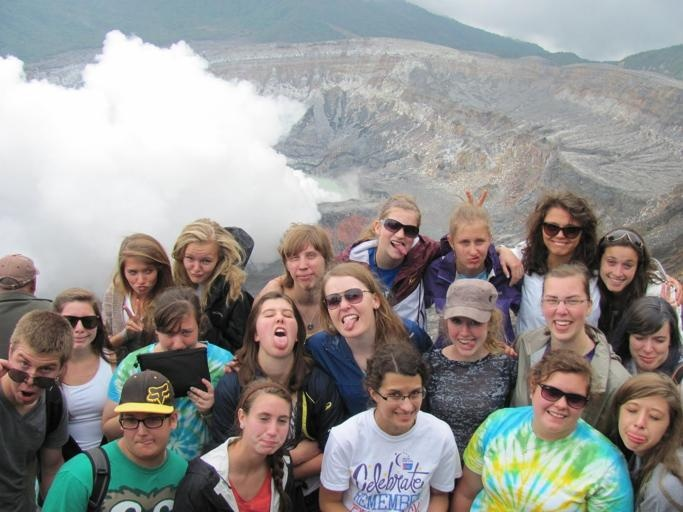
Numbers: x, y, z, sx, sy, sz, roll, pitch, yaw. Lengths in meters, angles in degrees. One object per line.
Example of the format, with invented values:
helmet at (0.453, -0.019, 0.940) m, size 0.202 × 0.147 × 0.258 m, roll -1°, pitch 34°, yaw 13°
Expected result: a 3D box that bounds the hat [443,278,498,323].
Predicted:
hat at (2.057, 0.758, 10.427) m, size 0.782 × 0.644 × 0.597 m, roll 7°, pitch 19°, yaw 9°
